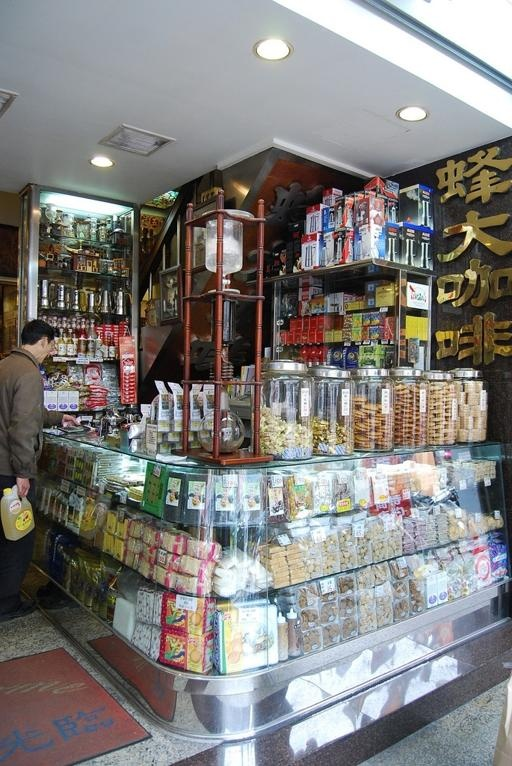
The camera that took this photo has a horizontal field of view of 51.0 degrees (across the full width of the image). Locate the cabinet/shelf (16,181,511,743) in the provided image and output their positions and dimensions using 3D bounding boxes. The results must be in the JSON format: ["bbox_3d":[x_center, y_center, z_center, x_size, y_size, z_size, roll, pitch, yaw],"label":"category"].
[{"bbox_3d":[-0.106,0.253,2.276,1.539,0.996,1.561,3,2,39],"label":"cabinet/shelf"}]

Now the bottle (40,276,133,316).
[{"bbox_3d":[-1.496,-0.766,4.764,0.235,0.290,0.783,5,7,43],"label":"bottle"}]
